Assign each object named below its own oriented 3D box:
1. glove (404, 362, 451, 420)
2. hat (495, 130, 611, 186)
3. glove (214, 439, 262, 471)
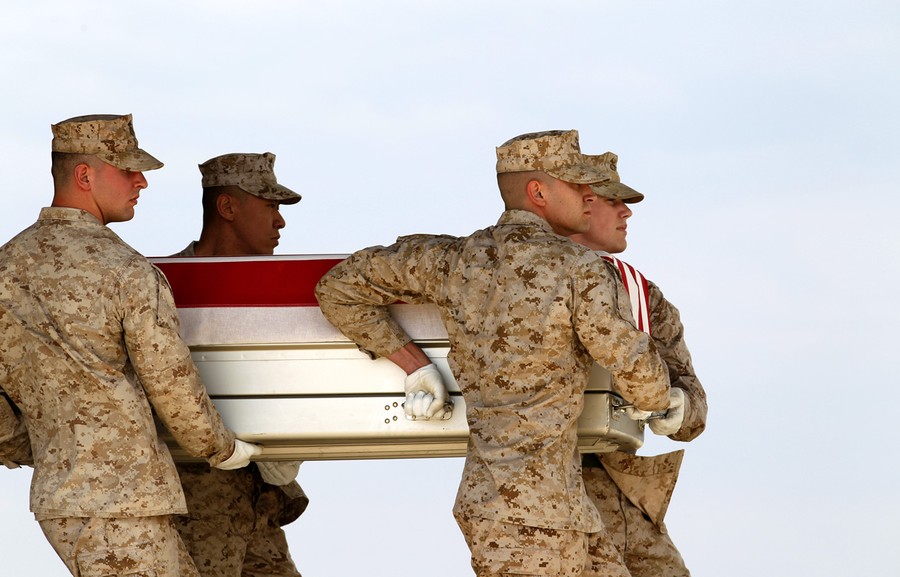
[{"bbox_3d":[-0.110,0.496,11.296,0.206,0.251,0.083,-22,-2,14],"label":"glove"},{"bbox_3d":[0.477,-0.656,11.259,0.642,0.258,0.419,2,7,12],"label":"hat"},{"bbox_3d":[-1.026,0.825,11.373,0.186,0.070,0.147,-17,-28,15],"label":"glove"}]
